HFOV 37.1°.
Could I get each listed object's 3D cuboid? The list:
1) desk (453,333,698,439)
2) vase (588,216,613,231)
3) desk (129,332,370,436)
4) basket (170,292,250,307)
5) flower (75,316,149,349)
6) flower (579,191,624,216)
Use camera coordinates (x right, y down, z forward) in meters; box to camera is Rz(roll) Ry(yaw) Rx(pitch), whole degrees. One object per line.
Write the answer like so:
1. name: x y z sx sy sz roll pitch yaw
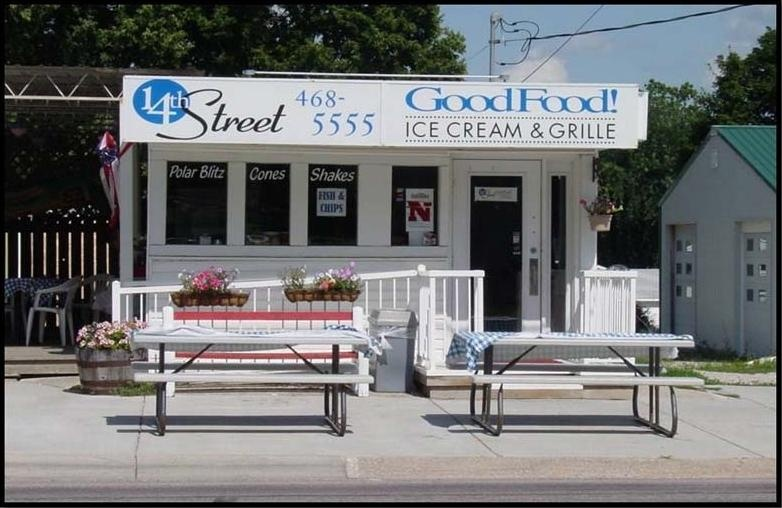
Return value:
1. desk: 2.713 2.001 18.034 3.513 1.539 2.128 0 -2 2
2. vase: 3.614 -0.533 20.430 0.303 0.176 0.305 -3 -6 38
3. desk: -2.023 1.903 17.588 3.308 1.596 1.785 1 -2 -3
4. basket: -2.960 0.760 19.324 1.230 0.243 0.275 1 -2 -11
5. flower: -4.446 1.345 18.773 1.032 0.464 0.446 1 -2 -15
6. flower: 3.747 -0.841 20.601 0.716 0.370 0.544 2 -2 -35
